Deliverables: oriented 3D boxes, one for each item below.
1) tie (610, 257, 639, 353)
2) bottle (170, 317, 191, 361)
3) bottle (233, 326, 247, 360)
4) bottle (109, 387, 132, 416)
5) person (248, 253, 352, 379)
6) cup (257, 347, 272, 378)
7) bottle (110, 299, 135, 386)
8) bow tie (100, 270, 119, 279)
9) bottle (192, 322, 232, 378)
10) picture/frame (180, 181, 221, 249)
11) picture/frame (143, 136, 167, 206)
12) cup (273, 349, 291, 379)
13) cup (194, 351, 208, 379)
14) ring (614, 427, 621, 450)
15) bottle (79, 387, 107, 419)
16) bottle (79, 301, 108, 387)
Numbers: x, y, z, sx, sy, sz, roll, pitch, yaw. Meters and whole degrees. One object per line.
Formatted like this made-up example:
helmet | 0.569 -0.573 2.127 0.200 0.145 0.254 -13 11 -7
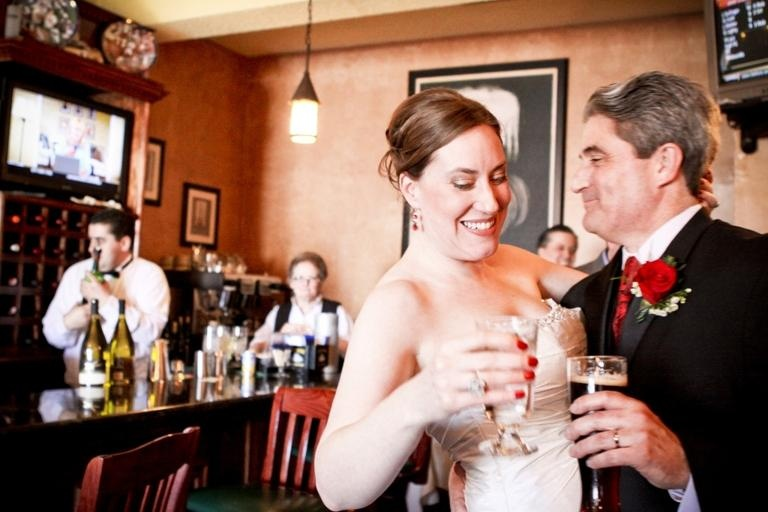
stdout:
tie | 0.966 0.166 2.469 0.059 0.473 0.069 24 -22 -21
bottle | -2.014 0.810 6.032 0.217 0.435 0.599 1 -1 -18
bottle | -1.077 0.645 4.582 0.087 0.250 0.272 1 -1 -8
bottle | -1.484 0.814 3.459 0.109 0.101 0.190 3 19 -13
person | -0.723 0.537 5.477 0.852 1.112 0.784 1 4 13
cup | -0.876 0.784 4.493 0.117 0.166 0.318 1 -1 -11
bottle | -1.671 0.542 3.914 0.145 0.355 0.345 1 -1 -23
bow tie | -2.097 0.143 4.708 0.069 0.048 0.065 0 -8 7
bottle | -1.177 0.672 4.331 0.327 0.305 0.087 1 -9 -6
picture/frame | -2.108 -0.473 6.970 0.056 0.770 0.821 5 4 26
picture/frame | -2.403 -0.885 6.428 0.093 0.720 0.306 1 -1 8
cup | -0.755 0.776 4.499 0.131 0.195 0.277 1 -1 -8
cup | -1.243 0.737 4.166 0.072 0.184 0.156 1 -1 -18
ring | 0.740 0.585 1.953 0.020 0.060 0.007 1 -1 22
bottle | -1.614 0.820 3.405 0.128 0.198 0.124 0 0 0
bottle | -1.777 0.530 3.754 0.150 0.357 0.187 1 -1 -25
